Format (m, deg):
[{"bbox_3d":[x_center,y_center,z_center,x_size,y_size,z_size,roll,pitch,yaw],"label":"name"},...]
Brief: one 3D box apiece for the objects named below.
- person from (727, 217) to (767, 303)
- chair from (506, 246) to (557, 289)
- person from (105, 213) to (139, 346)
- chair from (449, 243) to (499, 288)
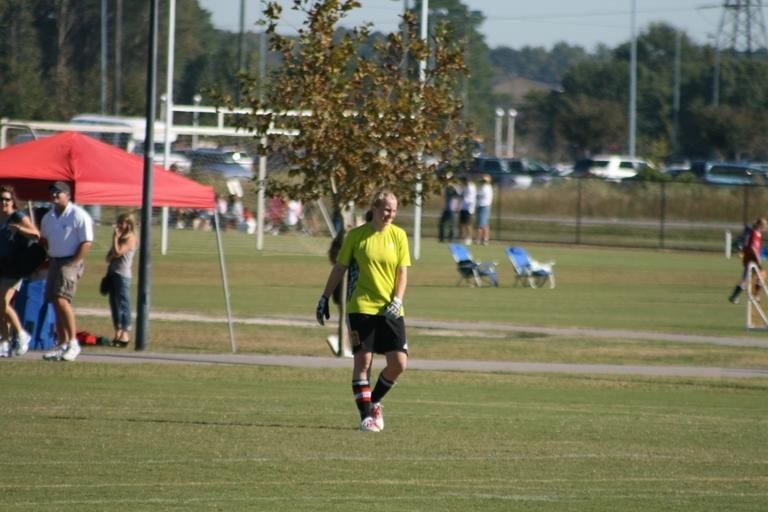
[{"bbox_3d":[11.044,0.074,64.724,1.033,2.733,1.475,0,0,5],"label":"person"},{"bbox_3d":[4.655,0.353,68.493,1.569,1.210,1.827,1,3,3],"label":"chair"},{"bbox_3d":[-7.354,0.645,59.330,1.113,3.649,1.132,11,-11,-30],"label":"person"},{"bbox_3d":[2.850,0.277,68.417,1.493,1.295,1.771,1,3,3],"label":"chair"}]
